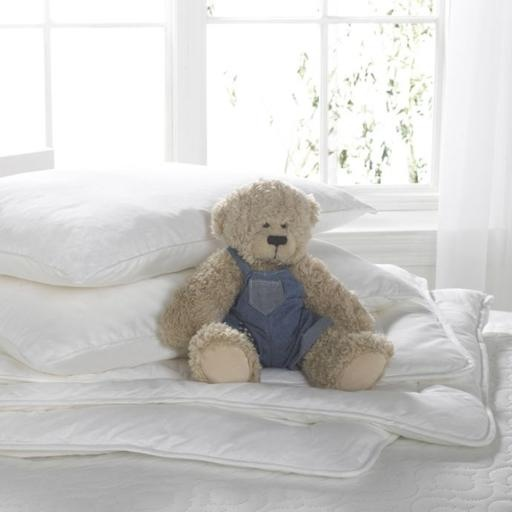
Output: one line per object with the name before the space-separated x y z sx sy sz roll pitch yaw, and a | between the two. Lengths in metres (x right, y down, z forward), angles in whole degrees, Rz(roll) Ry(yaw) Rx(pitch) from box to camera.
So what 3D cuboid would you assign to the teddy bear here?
teddy bear | 0.044 0.049 1.131 0.409 0.306 0.300 -1 19 -19
